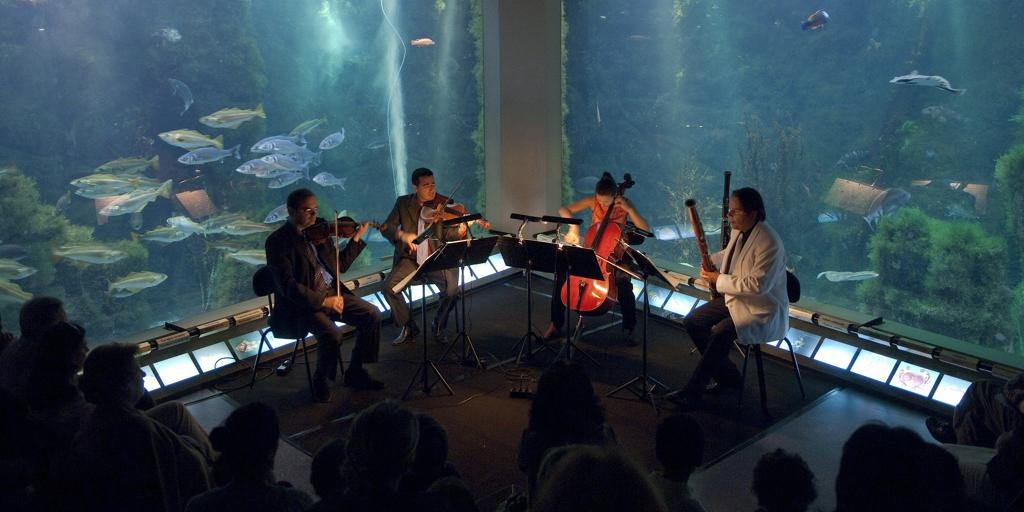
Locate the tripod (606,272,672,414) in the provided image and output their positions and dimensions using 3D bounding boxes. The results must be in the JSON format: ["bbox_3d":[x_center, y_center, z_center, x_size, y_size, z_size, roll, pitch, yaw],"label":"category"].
[{"bbox_3d":[1.910,1.338,10.360,1.009,1.844,0.872,2,0,13],"label":"tripod"}]

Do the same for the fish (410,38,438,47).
[{"bbox_3d":[-1.640,-3.915,12.502,0.318,0.080,0.194,-11,33,-31],"label":"fish"}]

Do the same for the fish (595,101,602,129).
[{"bbox_3d":[1.650,-2.627,12.602,0.123,0.378,0.088,-13,-2,15],"label":"fish"}]

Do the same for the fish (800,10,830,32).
[{"bbox_3d":[4.675,-3.600,10.428,0.544,0.259,0.162,-11,14,35],"label":"fish"}]

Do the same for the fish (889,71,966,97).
[{"bbox_3d":[6.020,-2.502,9.900,0.975,0.281,0.304,11,39,35],"label":"fish"}]

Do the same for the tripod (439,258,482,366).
[{"bbox_3d":[-0.803,0.913,11.042,0.577,1.613,0.585,2,0,-2],"label":"tripod"}]

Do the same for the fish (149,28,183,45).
[{"bbox_3d":[-5.298,-3.383,10.414,0.404,0.233,0.094,-7,23,-22],"label":"fish"}]

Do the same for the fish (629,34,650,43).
[{"bbox_3d":[2.267,-3.848,11.986,0.353,0.118,0.022,11,24,28],"label":"fish"}]

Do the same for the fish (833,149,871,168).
[{"bbox_3d":[5.241,-1.508,10.428,0.402,0.283,0.062,13,25,31],"label":"fish"}]

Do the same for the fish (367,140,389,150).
[{"bbox_3d":[-2.438,-2.021,12.361,0.369,0.142,0.059,-15,27,-40],"label":"fish"}]

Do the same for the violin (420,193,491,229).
[{"bbox_3d":[-1.007,-0.687,10.849,1.285,0.442,0.234,21,-8,4],"label":"violin"}]
